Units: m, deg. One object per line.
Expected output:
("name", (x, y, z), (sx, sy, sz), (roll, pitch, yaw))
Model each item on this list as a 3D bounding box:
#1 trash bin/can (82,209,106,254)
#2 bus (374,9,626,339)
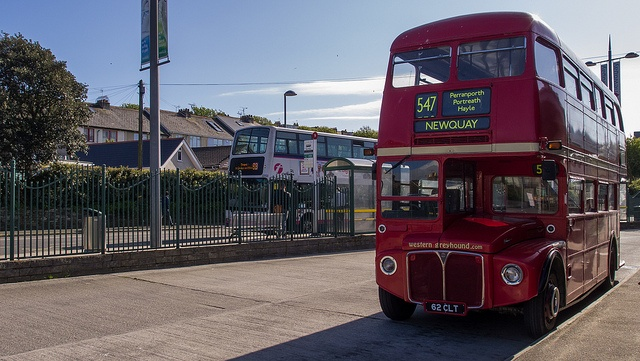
("trash bin/can", (-7.286, 1.656, 16.813), (0.836, 1.268, 0.841), (-10, -10, 40))
("bus", (3.834, 0.125, 11.862), (3.215, 4.717, 7.398), (-1, -2, 34))
